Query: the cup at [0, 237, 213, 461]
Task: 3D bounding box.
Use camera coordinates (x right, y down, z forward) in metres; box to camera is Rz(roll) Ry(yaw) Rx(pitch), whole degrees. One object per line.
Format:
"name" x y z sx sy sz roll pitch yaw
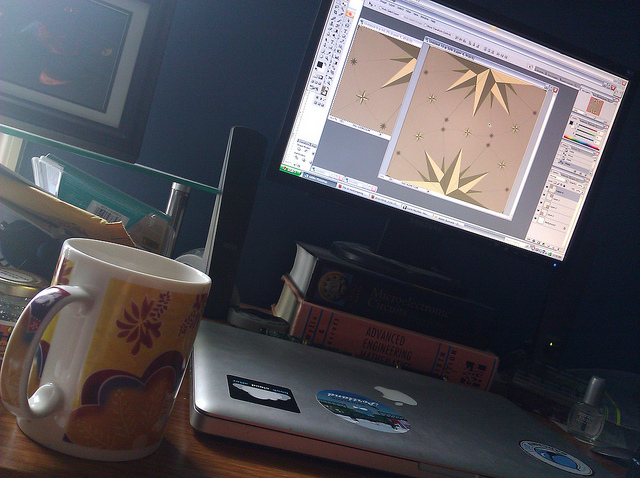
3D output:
"cup" -0.220 0.078 0.546 0.146 0.207 0.235 21 8 16

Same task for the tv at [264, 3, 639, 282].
"tv" 0.219 -0.185 0.934 0.538 0.379 0.041 17 2 -9
